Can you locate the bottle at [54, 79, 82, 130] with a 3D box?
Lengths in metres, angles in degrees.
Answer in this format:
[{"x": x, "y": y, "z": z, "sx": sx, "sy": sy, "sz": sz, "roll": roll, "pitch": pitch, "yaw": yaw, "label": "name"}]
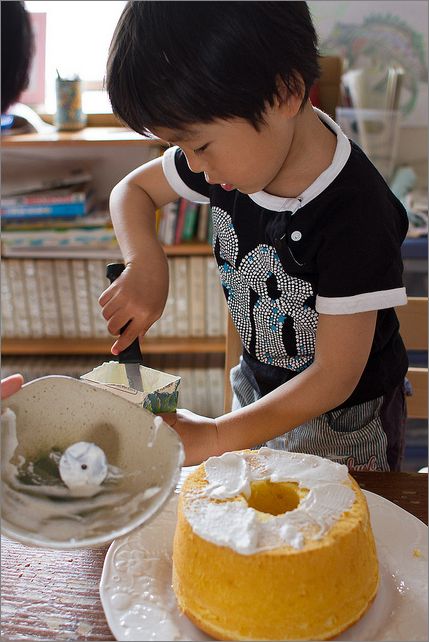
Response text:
[{"x": -0.461, "y": -0.686, "z": 1.820, "sx": 0.093, "sy": 0.166, "sz": 0.139, "roll": -2, "pitch": 29, "yaw": -12, "label": "bottle"}]
